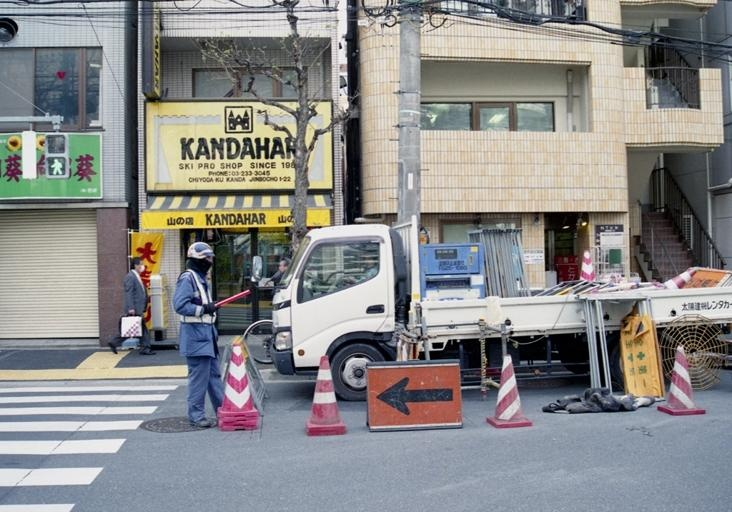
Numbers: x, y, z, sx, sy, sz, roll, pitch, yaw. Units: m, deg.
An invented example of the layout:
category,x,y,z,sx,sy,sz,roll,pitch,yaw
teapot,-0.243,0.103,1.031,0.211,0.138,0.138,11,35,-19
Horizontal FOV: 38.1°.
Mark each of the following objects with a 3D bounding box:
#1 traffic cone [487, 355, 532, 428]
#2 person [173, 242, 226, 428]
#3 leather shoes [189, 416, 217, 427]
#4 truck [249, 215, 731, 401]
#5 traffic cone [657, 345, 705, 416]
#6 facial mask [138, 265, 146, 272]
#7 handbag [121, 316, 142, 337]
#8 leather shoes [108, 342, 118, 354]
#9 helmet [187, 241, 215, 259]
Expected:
category,x,y,z,sx,sy,sz,roll,pitch,yaw
traffic cone,2.804,2.591,20.686,0.860,1.352,0.826,-2,3,6
person,-3.340,1.537,20.816,0.837,3.539,0.686,-3,3,-6
leather shoes,-3.208,3.230,20.703,0.556,0.265,0.206,0,2,1
truck,2.004,1.102,23.522,11.722,4.099,3.867,0,-2,-6
traffic cone,6.314,2.447,21.047,0.919,1.316,0.686,-1,3,22
facial mask,-5.889,0.324,27.547,0.184,0.160,0.147,-14,-10,26
handbag,-5.870,1.738,26.176,0.434,0.451,0.192,1,6,-3
leather shoes,-6.373,2.307,26.382,0.217,0.181,0.525,-12,-28,-8
helmet,-3.322,-0.108,20.979,0.455,0.282,0.316,0,11,-10
